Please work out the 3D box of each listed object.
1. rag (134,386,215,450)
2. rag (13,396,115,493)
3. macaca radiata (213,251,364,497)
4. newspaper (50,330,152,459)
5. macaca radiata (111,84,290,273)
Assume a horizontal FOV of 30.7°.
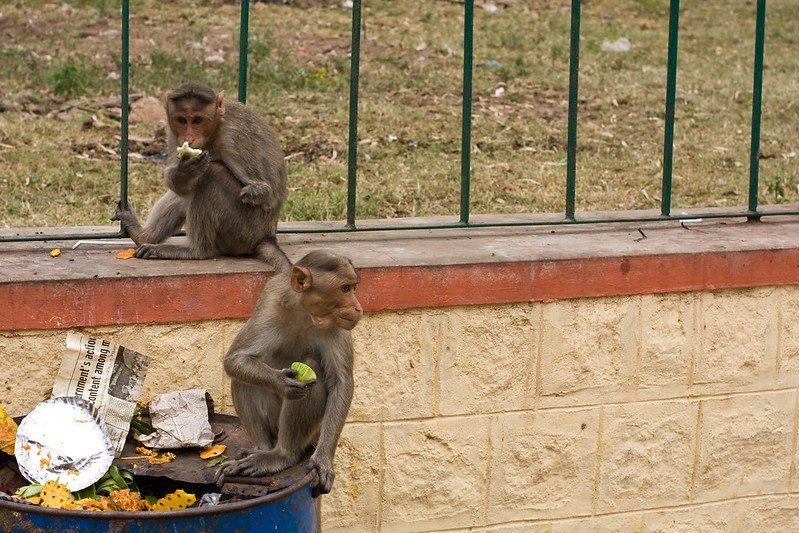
[{"bbox_3d":[-1.533,1.095,10.116,0.430,0.124,0.404,-6,51,-2],"label":"rag"},{"bbox_3d":[-2.270,1.217,9.850,0.603,0.636,0.115,-32,-4,-17],"label":"rag"},{"bbox_3d":[-0.773,0.713,10.281,1.061,1.627,1.078,6,6,39],"label":"macaca radiata"},{"bbox_3d":[-2.088,0.920,10.063,0.708,0.774,0.070,19,-20,-3],"label":"newspaper"},{"bbox_3d":[-1.510,-0.729,11.359,1.839,1.323,1.062,8,7,20],"label":"macaca radiata"}]
